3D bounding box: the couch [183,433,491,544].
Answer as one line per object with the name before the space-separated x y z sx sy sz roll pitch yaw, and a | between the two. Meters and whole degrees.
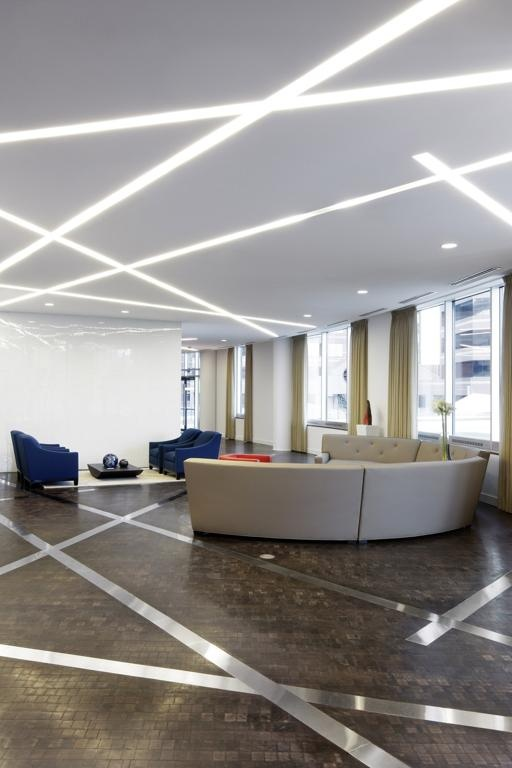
couch | 0.753 1.092 5.005 2.804 0.754 0.822 1 -1 -15
